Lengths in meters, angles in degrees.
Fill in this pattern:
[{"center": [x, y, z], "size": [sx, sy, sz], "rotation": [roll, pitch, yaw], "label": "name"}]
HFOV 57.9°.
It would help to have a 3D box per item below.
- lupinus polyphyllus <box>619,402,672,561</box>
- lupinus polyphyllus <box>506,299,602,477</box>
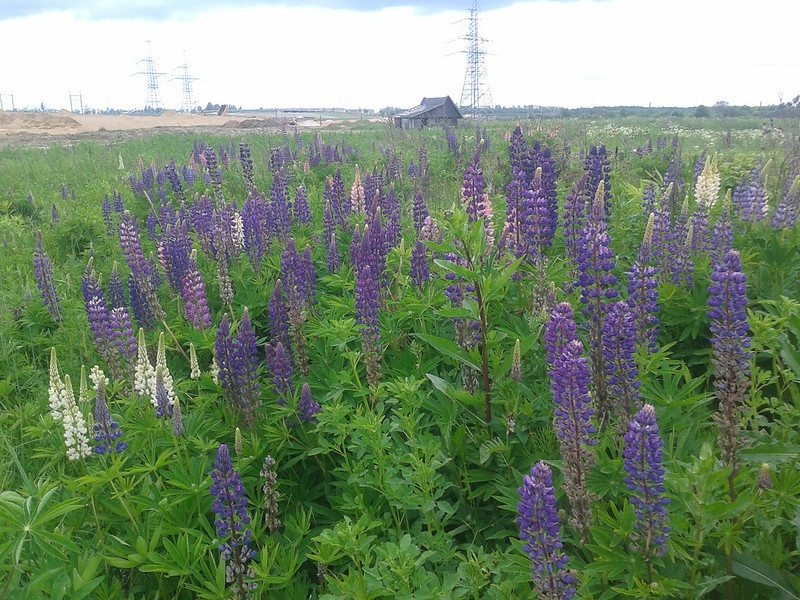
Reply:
[{"center": [1.616, 1.150, 4.715], "size": [0.324, 1.019, 0.248], "rotation": [5, 15, 23], "label": "lupinus polyphyllus"}, {"center": [1.202, 0.566, 5.053], "size": [0.375, 1.098, 0.542], "rotation": [3, 14, 13], "label": "lupinus polyphyllus"}]
